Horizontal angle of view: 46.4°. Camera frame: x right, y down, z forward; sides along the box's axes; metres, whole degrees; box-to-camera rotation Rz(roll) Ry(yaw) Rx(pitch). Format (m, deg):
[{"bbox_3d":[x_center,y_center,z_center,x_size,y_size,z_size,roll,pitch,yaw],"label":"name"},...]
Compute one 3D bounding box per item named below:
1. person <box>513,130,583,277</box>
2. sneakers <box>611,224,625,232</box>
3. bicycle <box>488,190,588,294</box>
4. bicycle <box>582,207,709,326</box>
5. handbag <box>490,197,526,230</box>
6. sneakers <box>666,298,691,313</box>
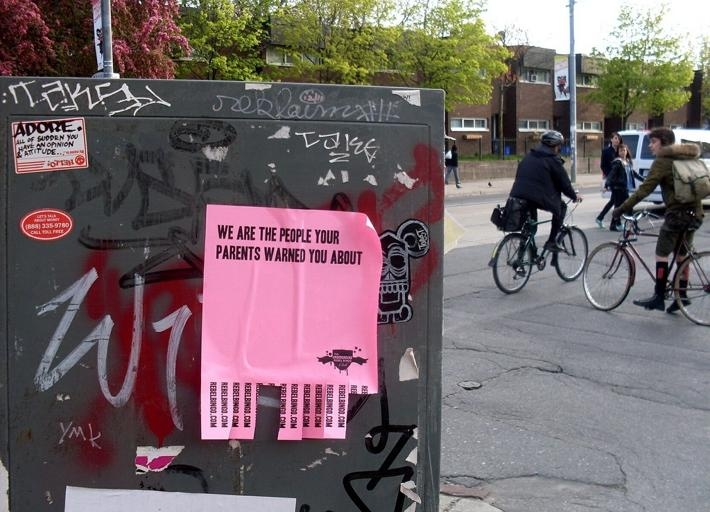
[{"bbox_3d":[2.156,-0.680,9.538,0.730,1.394,0.460,-2,10,-7],"label":"person"},{"bbox_3d":[4.694,-0.457,14.796,0.136,0.191,0.396,7,12,40],"label":"sneakers"},{"bbox_3d":[2.079,-0.035,10.119,1.570,1.147,0.726,-18,20,-34],"label":"bicycle"},{"bbox_3d":[3.184,0.097,8.792,0.755,1.088,1.506,-7,15,-38],"label":"bicycle"},{"bbox_3d":[1.751,-0.466,9.572,0.360,0.454,0.301,11,6,-6],"label":"handbag"},{"bbox_3d":[3.289,0.516,8.479,0.164,0.096,0.253,12,11,32],"label":"sneakers"}]
